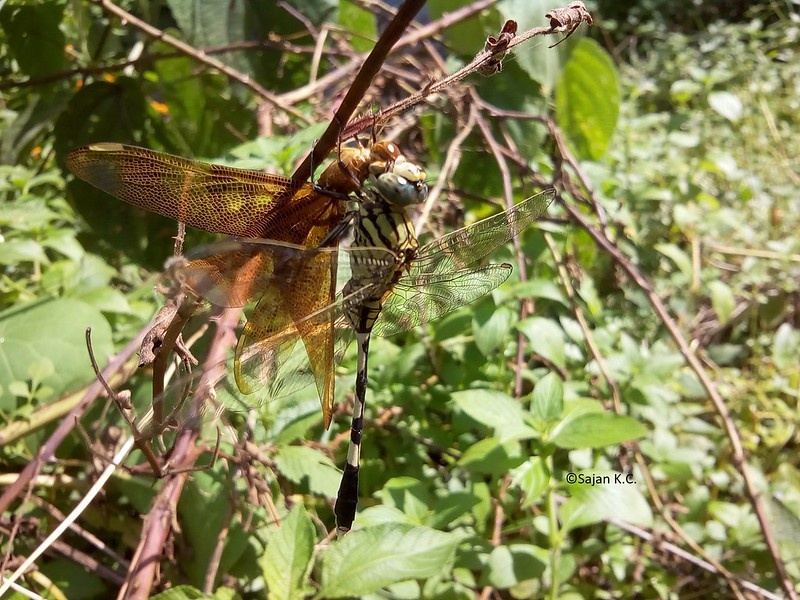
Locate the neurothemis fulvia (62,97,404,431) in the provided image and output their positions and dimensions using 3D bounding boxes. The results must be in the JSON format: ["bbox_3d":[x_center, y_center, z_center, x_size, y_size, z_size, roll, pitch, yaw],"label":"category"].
[{"bbox_3d":[-0.340,-0.162,1.478,0.560,0.570,0.296,-1,25,-40],"label":"neurothemis fulvia"}]

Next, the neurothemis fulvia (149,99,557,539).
[{"bbox_3d":[-0.070,0.055,1.513,0.702,0.717,0.379,-8,-13,27],"label":"neurothemis fulvia"}]
